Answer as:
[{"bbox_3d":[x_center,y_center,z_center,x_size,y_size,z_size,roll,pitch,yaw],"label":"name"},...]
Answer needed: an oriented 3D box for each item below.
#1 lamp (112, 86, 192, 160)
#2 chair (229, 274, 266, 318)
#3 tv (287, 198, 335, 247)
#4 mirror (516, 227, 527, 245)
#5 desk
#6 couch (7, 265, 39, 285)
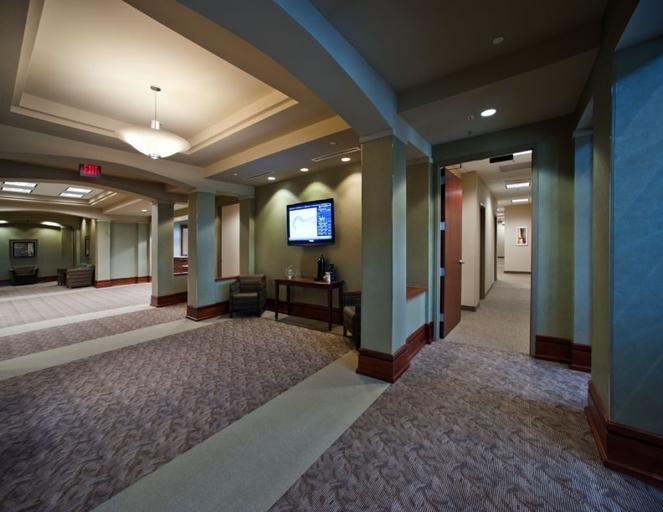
[{"bbox_3d":[-2.145,-1.638,5.172,0.728,0.901,0.729,1,-5,-27],"label":"lamp"},{"bbox_3d":[-1.454,0.687,7.371,0.455,0.671,0.653,0,3,1],"label":"chair"},{"bbox_3d":[-0.356,-0.564,6.918,0.975,0.712,0.183,3,6,43],"label":"tv"},{"bbox_3d":[6.028,-0.628,13.414,0.294,0.585,0.154,2,5,40],"label":"mirror"},{"bbox_3d":[-0.376,0.712,6.747,1.095,0.727,0.404,4,10,31],"label":"desk"},{"bbox_3d":[-9.534,0.591,13.132,0.442,0.769,0.805,-2,0,29],"label":"couch"}]
